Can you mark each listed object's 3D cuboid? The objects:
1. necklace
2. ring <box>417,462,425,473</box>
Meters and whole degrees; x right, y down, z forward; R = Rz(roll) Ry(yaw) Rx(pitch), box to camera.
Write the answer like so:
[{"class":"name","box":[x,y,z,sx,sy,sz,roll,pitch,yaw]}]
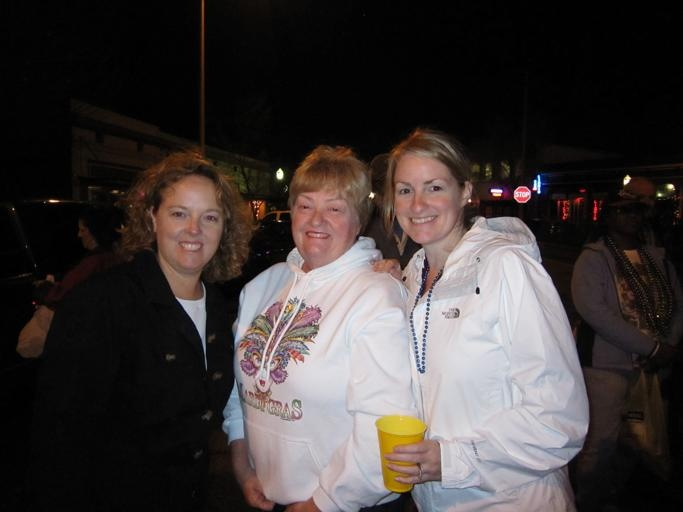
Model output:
[{"class":"necklace","box":[0.604,0.465,3.637,0.250,0.704,0.039,-4,-19,21]},{"class":"ring","box":[0.484,1.304,3.198,0.040,0.056,0.014,-10,-7,18]}]
